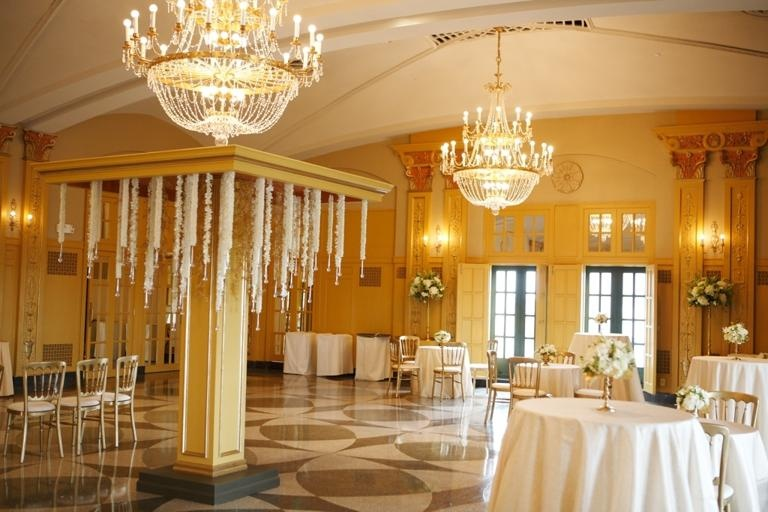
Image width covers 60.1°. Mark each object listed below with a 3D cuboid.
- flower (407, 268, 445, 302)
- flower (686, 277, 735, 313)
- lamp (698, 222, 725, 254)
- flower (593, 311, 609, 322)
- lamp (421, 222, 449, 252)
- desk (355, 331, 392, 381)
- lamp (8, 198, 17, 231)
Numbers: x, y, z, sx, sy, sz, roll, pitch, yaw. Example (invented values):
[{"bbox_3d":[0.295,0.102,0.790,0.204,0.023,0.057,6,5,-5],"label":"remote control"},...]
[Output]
[{"bbox_3d":[0.988,0.715,15.844,0.731,0.645,0.736,-2,3,-2],"label":"flower"},{"bbox_3d":[6.687,0.764,13.728,0.778,0.662,0.701,-6,-6,5],"label":"flower"},{"bbox_3d":[6.895,-0.360,13.991,0.636,0.646,0.199,-2,-8,30],"label":"lamp"},{"bbox_3d":[4.368,1.233,13.424,0.355,0.252,0.346,-2,-9,9],"label":"flower"},{"bbox_3d":[1.218,-0.399,16.037,0.644,0.695,0.160,-5,-14,28],"label":"lamp"},{"bbox_3d":[-0.309,2.446,16.077,1.095,1.169,1.053,9,-4,-29],"label":"desk"},{"bbox_3d":[-7.535,-0.818,13.465,0.075,0.611,0.187,0,-12,10],"label":"lamp"}]
